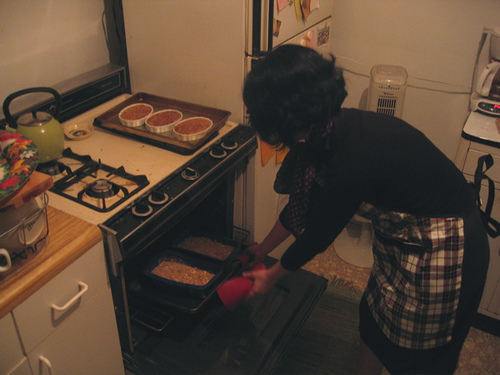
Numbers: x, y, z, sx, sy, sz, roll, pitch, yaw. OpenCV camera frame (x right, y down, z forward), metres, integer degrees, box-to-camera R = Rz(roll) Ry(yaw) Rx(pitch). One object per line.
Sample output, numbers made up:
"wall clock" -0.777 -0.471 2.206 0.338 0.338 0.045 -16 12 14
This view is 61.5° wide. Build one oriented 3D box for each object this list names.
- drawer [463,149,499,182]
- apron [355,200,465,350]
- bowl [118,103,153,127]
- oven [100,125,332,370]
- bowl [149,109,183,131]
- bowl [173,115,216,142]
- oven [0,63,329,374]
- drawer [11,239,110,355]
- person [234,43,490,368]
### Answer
"drawer" 1.207 -0.109 2.172 0.176 0.135 0.056 17 35 25
"apron" 0.631 0.309 1.693 0.300 0.525 0.390 -2 8 -8
"bowl" -0.586 -0.379 2.154 0.138 0.043 0.134 -4 45 4
"oven" -0.190 0.300 1.959 0.502 0.726 0.944 9 34 21
"bowl" -0.431 -0.338 2.118 0.119 0.026 0.116 0 40 0
"bowl" -0.277 -0.294 2.068 0.154 0.038 0.149 -3 37 2
"oven" -0.356 0.205 2.332 1.714 1.294 1.238 18 34 23
"drawer" -0.703 0.414 1.540 0.320 0.201 0.299 15 38 28
"person" 0.435 0.151 1.568 0.924 1.264 0.272 6 32 10
